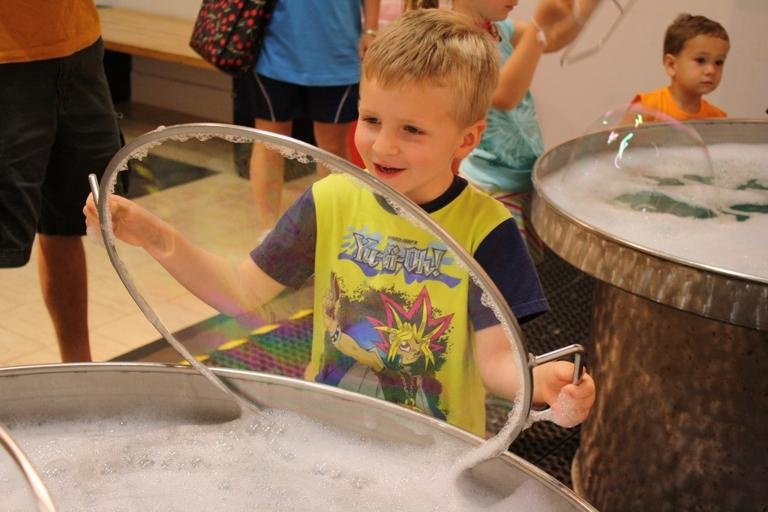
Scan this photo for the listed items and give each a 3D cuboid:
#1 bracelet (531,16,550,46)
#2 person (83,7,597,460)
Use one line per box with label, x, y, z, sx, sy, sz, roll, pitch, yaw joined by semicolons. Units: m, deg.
bracelet;0.401;-0.559;1.764;0.023;0.090;0.021;-2;33;41
person;0.032;-0.067;1.069;0.695;0.536;0.528;21;27;19
